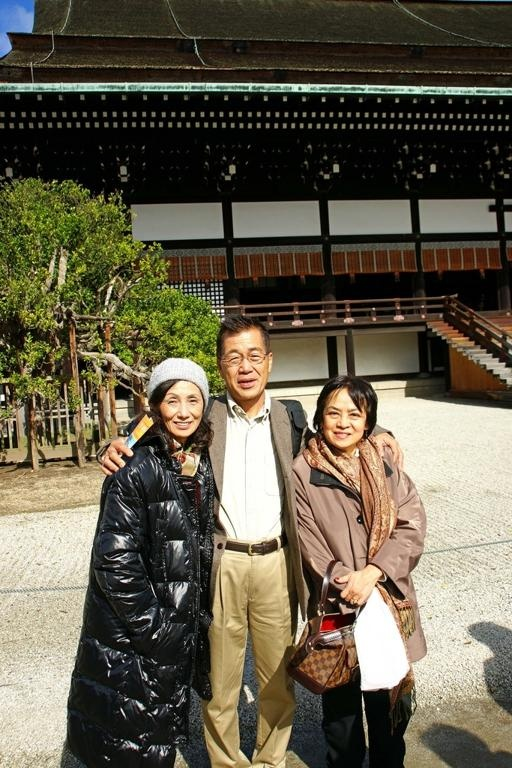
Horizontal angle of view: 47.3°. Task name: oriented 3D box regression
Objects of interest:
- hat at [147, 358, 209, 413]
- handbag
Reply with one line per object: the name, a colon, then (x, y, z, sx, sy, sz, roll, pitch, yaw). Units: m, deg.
hat: (-0.241, 0.009, 1.831, 0.145, 0.129, 0.156, 4, -11, -9)
handbag: (0.178, 0.664, 1.590, 0.182, 0.290, 0.134, -5, 3, -26)
